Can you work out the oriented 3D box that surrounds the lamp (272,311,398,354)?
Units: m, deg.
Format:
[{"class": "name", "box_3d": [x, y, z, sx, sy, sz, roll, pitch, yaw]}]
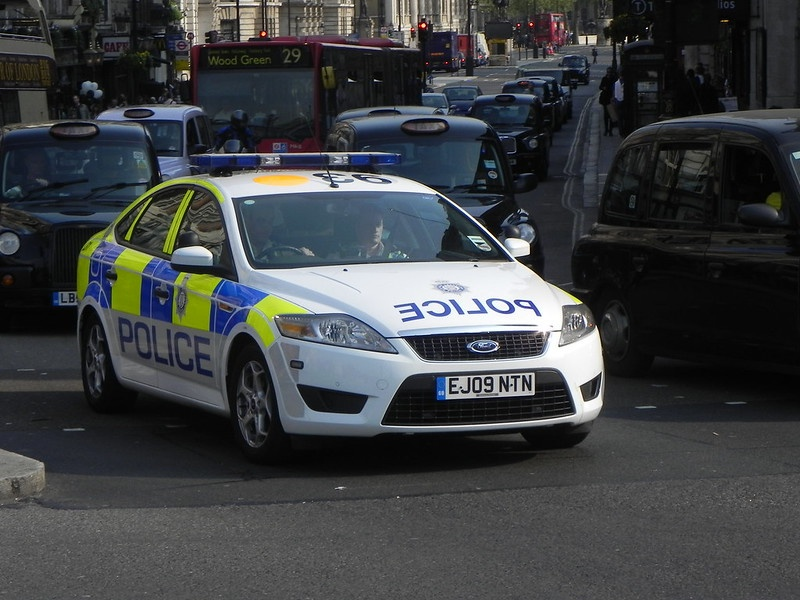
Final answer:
[{"class": "lamp", "box_3d": [-0.386, 0.257, 5.290, 0.482, 0.154, 0.302, 20, -14, -23]}]

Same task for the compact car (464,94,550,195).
[{"class": "compact car", "box_3d": [3.531, -4.527, 29.838, 2.313, 2.155, 4.425, -4, -9, 11]}]

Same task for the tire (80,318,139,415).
[{"class": "tire", "box_3d": [-2.324, 0.539, 7.268, 0.240, 0.769, 0.731, -8, 3, -41]}]

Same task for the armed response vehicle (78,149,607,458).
[{"class": "armed response vehicle", "box_3d": [-0.684, -0.112, 6.552, 1.947, 1.491, 3.599, 0, 1, -31]}]

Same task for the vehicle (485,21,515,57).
[{"class": "vehicle", "box_3d": [13.440, -36.017, 124.392, 3.072, 4.548, 8.611, -1, 12, 4]}]

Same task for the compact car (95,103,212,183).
[{"class": "compact car", "box_3d": [-4.610, -3.104, 18.225, 1.262, 1.313, 2.583, 0, 12, 9]}]

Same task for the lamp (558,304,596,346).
[{"class": "lamp", "box_3d": [1.090, 0.149, 5.697, 0.163, 0.187, 0.518, 5, 13, 28]}]

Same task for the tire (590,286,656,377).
[{"class": "tire", "box_3d": [2.042, 0.299, 8.208, 0.298, 0.808, 0.774, -3, 6, -28]}]

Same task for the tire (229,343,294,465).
[{"class": "tire", "box_3d": [-0.844, 0.653, 5.723, 0.230, 0.729, 0.699, 0, 11, -33]}]

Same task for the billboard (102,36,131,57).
[{"class": "billboard", "box_3d": [-12.357, -11.111, 39.334, 1.130, 0.897, 1.440, -5, 12, -17]}]
